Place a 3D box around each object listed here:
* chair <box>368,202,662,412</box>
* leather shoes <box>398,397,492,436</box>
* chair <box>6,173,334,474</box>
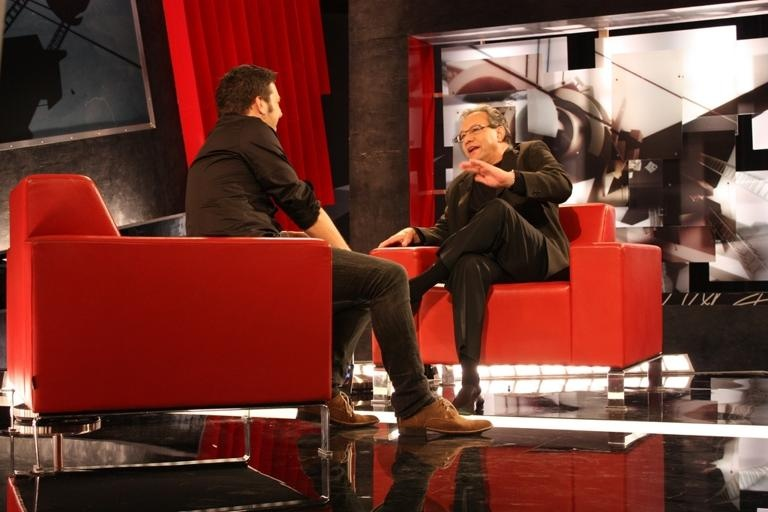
[{"bbox_3d":[0.877,0.137,3.895,1.390,0.879,0.742,-4,-9,28],"label":"chair"},{"bbox_3d":[0.252,0.698,3.138,0.484,0.186,0.157,-1,-9,-4],"label":"leather shoes"},{"bbox_3d":[-0.813,0.206,2.743,1.072,0.778,1.059,0,0,-24],"label":"chair"}]
